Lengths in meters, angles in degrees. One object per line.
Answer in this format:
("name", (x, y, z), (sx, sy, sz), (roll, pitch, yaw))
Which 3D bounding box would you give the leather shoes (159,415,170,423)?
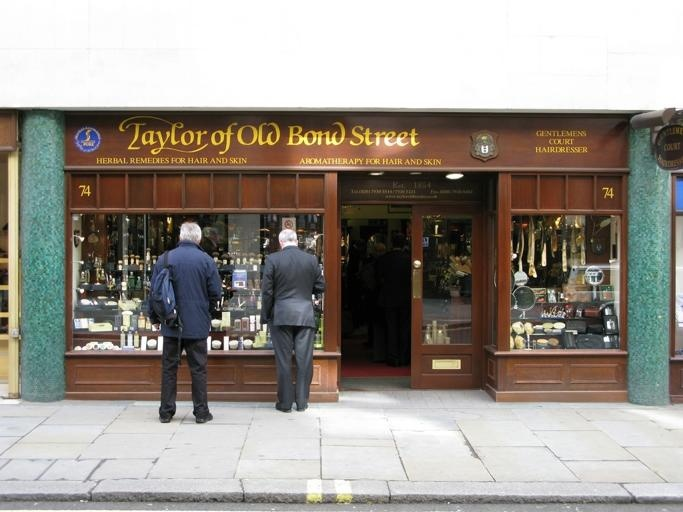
("leather shoes", (-2.164, 1.997, 8.681), (0.134, 0.075, 0.098), (-2, 8, -19))

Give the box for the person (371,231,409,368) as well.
("person", (0.868, 0.739, 11.946), (0.604, 2.218, 0.509), (1, 7, 3))

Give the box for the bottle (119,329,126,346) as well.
("bottle", (-3.050, 1.157, 9.879), (0.092, 0.224, 0.115), (-2, 8, -16))

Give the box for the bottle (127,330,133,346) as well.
("bottle", (-2.957, 1.157, 9.876), (0.088, 0.223, 0.115), (-2, 8, -18))

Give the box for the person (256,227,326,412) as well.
("person", (-0.702, 0.831, 9.333), (0.679, 2.316, 0.642), (5, 9, 33))

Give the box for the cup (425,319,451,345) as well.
("cup", (1.358, 1.116, 10.439), (0.463, 0.416, 0.327), (1, 2, 0))

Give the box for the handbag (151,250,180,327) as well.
("handbag", (-2.174, 0.429, 8.626), (0.319, 0.903, 0.352), (-3, 8, -26))

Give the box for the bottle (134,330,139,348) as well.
("bottle", (-2.865, 1.175, 9.870), (0.084, 0.205, 0.107), (-2, 8, -17))
